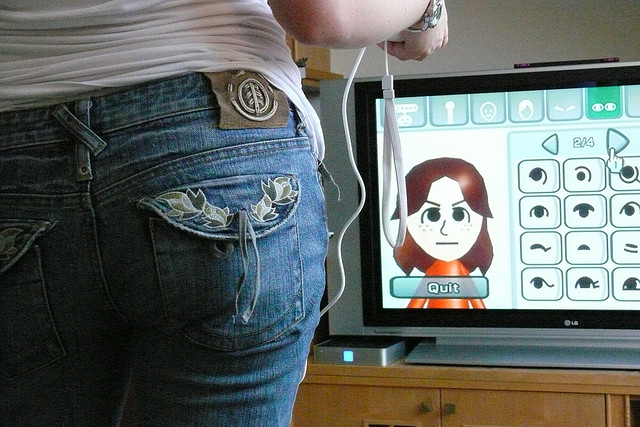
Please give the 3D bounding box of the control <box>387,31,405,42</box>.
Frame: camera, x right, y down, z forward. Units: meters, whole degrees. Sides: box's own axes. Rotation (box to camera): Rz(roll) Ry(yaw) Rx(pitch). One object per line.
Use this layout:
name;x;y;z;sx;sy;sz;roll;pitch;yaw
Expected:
control;0.111;-0.257;0.945;0.025;0.007;0.040;0;-1;5

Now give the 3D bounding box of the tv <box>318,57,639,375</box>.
tv;0.511;0.023;1.918;1.012;0.678;0.319;1;0;10

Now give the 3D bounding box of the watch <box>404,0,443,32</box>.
watch;0.142;-0.270;0.887;0.036;0.039;0.021;-5;39;-37
